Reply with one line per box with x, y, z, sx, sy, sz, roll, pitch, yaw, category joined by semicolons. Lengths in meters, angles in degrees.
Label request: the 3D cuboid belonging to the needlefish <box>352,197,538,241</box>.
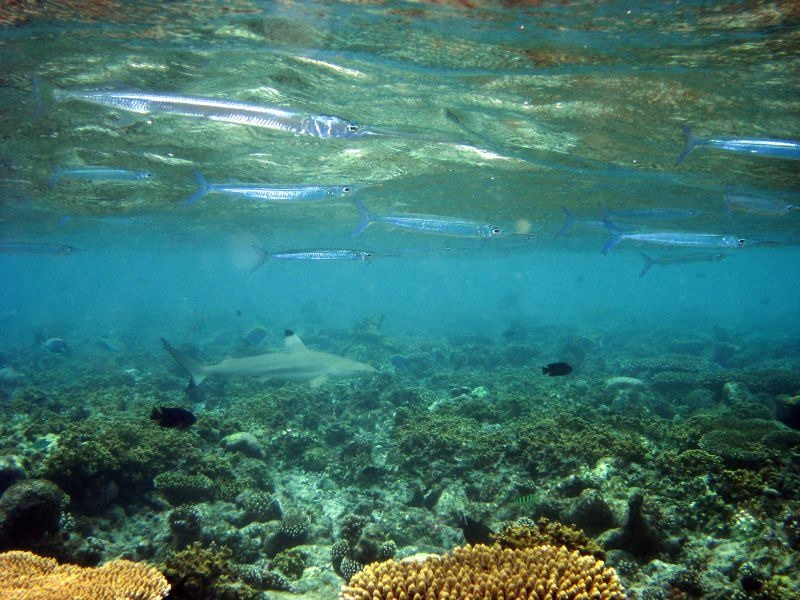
1.017;-2.550;24.017;4.603;1.243;2.810;-2;16;-8;needlefish

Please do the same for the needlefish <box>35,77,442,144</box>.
-5.347;-5.578;20.517;10.586;1.715;1.001;-1;21;-2;needlefish
